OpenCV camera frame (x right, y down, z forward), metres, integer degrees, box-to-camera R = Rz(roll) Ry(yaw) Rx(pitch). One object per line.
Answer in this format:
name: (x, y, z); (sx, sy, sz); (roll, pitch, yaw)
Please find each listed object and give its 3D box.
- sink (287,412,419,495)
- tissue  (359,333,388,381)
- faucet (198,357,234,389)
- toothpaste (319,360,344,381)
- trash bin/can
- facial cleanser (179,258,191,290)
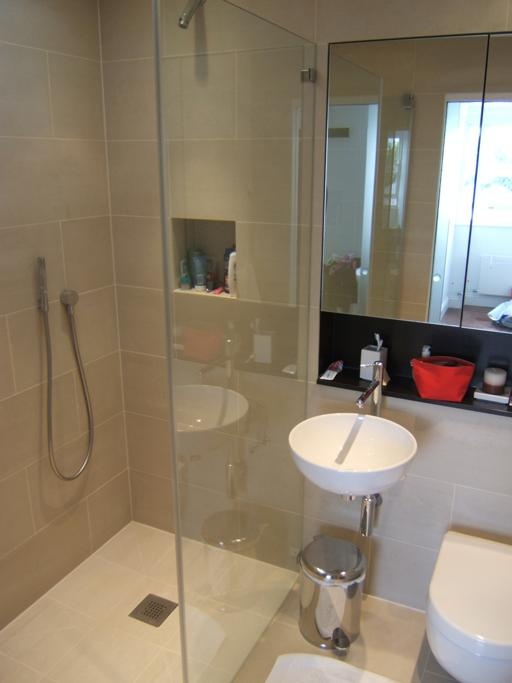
sink: (0.311, 0.340, 1.609); (0.278, 0.161, 0.320); (-2, 22, -2)
tissue : (0.427, 0.094, 1.890); (0.080, 0.173, 0.070); (-19, 21, -42)
faucet: (-0.101, 0.089, 1.375); (0.043, 0.065, 0.080); (4, 7, 28)
toothpaste: (0.286, 0.117, 1.974); (0.039, 0.058, 0.128); (8, 18, 23)
trash bin/can: (0.251, 0.910, 1.932); (0.196, 0.322, 0.338); (-1, 18, 1)
facial cleanser: (-0.155, -0.148, 1.147); (0.015, 0.068, 0.053); (1, 11, 12)
